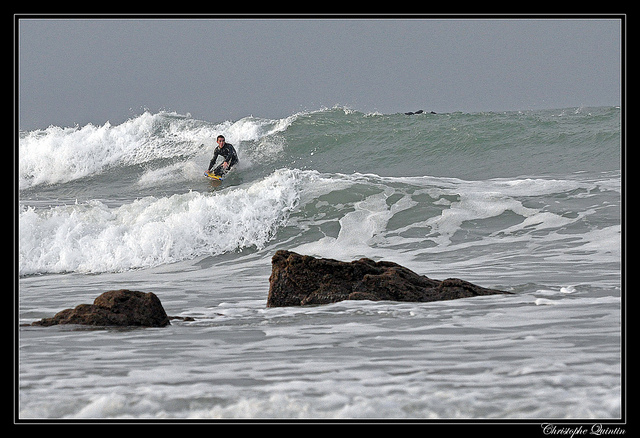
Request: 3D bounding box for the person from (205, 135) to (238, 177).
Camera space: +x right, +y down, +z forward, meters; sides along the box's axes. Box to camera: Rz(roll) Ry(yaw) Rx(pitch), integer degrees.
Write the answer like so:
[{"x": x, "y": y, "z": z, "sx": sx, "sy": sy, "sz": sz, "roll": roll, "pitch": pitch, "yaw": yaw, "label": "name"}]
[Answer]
[{"x": -2.496, "y": -1.720, "z": 22.745, "sx": 0.604, "sy": 0.956, "sz": 1.292, "roll": -6, "pitch": 11, "yaw": -5, "label": "person"}]
